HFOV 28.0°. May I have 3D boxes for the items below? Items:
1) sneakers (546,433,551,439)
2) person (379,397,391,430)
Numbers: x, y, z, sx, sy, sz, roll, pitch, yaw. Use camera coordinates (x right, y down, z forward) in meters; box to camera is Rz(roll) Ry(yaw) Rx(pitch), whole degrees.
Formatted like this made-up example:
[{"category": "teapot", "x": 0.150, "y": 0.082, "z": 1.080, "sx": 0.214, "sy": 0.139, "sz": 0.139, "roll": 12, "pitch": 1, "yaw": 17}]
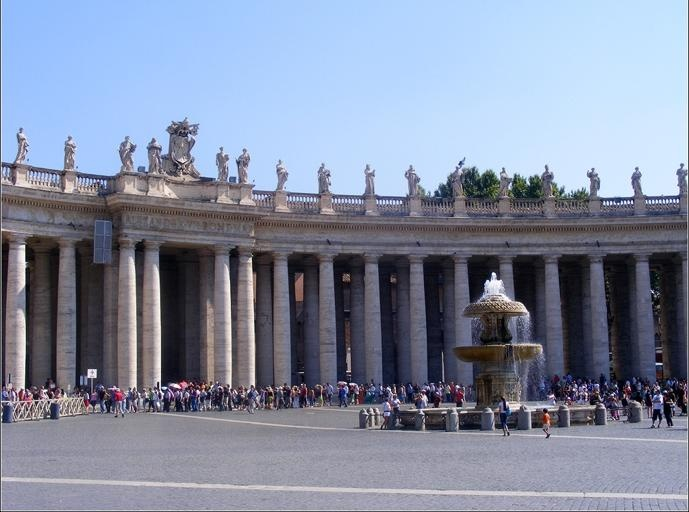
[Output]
[{"category": "sneakers", "x": 9.229, "y": 8.243, "z": 62.925, "sx": 0.122, "sy": 0.197, "sz": 0.199, "roll": -2, "pitch": -21, "yaw": 43}, {"category": "person", "x": 2.074, "y": 7.925, "z": 69.593, "sx": 0.514, "sy": 1.589, "sz": 1.374, "roll": -3, "pitch": -10, "yaw": 1}]
